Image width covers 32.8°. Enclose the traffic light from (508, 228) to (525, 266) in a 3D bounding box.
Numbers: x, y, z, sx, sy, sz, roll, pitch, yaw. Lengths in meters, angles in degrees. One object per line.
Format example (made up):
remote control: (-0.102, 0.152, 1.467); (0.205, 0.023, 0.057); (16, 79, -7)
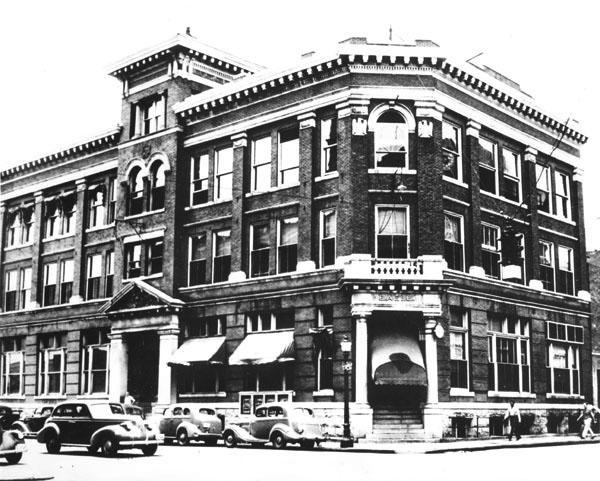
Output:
traffic light: (11.800, 0.333, 53.764); (0.463, 2.139, 1.230); (-3, -1, 4)
